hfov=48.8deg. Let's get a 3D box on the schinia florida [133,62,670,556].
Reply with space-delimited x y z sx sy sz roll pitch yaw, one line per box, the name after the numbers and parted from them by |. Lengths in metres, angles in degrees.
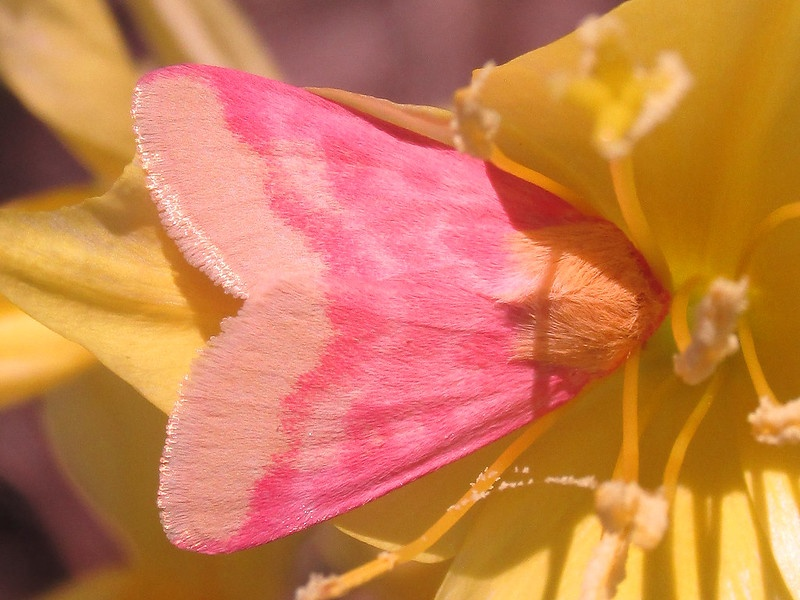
-0.030 0.033 0.564 0.362 0.075 0.309 18 68 3 | schinia florida
